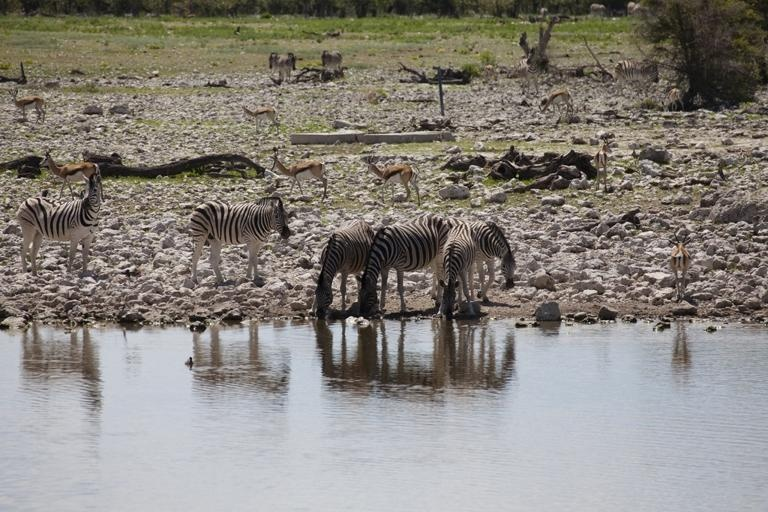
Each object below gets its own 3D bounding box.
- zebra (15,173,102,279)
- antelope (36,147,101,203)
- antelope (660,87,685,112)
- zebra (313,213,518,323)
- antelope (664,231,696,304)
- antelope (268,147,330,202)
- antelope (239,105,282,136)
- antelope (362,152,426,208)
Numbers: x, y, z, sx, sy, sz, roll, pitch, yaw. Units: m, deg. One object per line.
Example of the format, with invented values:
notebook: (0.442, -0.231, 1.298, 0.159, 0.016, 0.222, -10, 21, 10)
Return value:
zebra: (-6.760, -0.636, 25.389, 2.599, 2.117, 0.807, 1, 4, 27)
antelope: (-7.758, -2.009, 29.388, 1.410, 0.995, 0.330, -4, 12, -35)
antelope: (9.776, -5.246, 41.212, 1.022, 0.372, 1.467, 9, 15, 4)
zebra: (-0.246, 0.195, 23.919, 2.523, 1.946, 0.856, -1, 4, -3)
antelope: (5.941, 0.229, 24.278, 0.665, 1.404, 0.506, 1, -1, 2)
antelope: (-2.137, -1.995, 30.644, 1.297, 0.969, 2.511, -1, 4, -3)
antelope: (-3.822, -4.211, 37.110, 0.991, 0.799, 2.425, -2, 4, -5)
antelope: (0.231, -1.798, 29.685, 1.235, 1.067, 2.163, -1, 4, 1)
